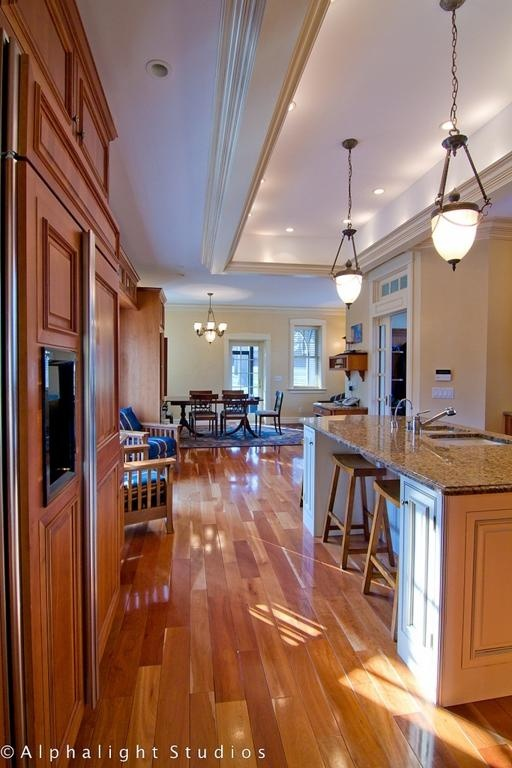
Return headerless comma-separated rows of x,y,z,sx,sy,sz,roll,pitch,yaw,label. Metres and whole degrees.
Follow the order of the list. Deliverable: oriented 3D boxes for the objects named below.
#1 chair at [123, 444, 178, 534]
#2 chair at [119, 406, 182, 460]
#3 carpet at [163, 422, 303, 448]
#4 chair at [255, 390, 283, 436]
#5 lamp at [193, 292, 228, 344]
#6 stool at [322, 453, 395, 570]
-0.718,0.705,3.316,0.287,0.382,0.468,0,5,-12,chair
-1.150,0.557,5.219,0.505,0.897,0.574,-1,-1,18,chair
-0.195,0.859,7.627,1.927,0.095,1.445,0,2,-12,carpet
0.237,0.523,8.611,0.491,1.239,0.568,1,-2,-8,chair
-0.810,-1.101,8.850,0.571,1.525,0.771,-2,6,-17,lamp
0.571,0.688,3.121,0.350,1.041,0.622,2,-3,-4,stool
